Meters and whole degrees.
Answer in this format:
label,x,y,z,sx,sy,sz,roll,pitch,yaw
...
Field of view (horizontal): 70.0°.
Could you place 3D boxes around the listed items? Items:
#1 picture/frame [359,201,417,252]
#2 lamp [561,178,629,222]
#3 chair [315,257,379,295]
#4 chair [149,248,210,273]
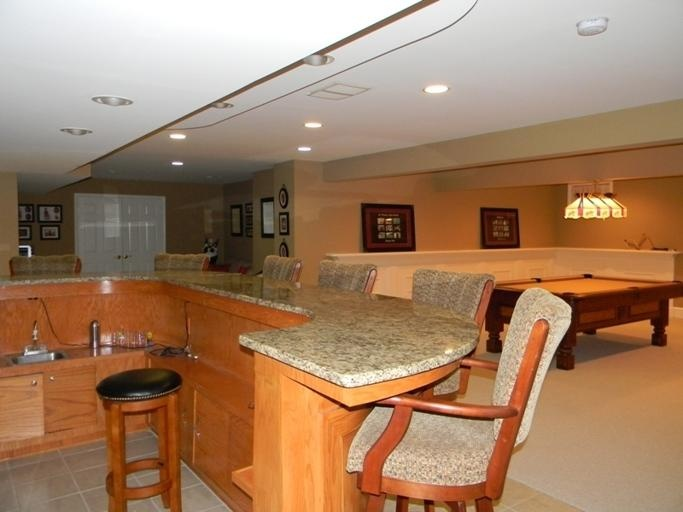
label,x,y,z,sx,sy,sz,roll,pitch,yaw
picture/frame,0.760,-0.434,7.841,1.117,0.754,0.024,-3,1,-38
lamp,3.998,-0.851,7.773,0.909,0.421,0.840,-3,6,-21
chair,0.038,0.145,3.435,0.312,0.184,0.717,-2,5,-10
chair,-1.498,0.062,4.746,0.601,0.151,0.279,1,5,23
